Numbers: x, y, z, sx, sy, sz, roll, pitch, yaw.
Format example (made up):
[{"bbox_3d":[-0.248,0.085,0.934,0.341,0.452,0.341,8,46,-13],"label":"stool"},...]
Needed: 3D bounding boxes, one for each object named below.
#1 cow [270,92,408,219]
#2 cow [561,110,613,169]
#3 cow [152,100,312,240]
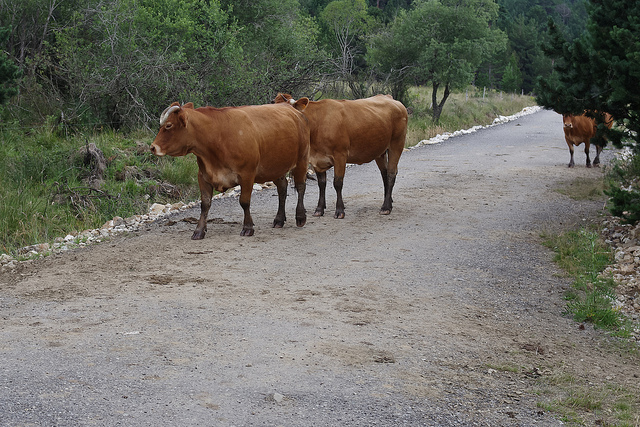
[{"bbox_3d":[0.418,-1.332,12.340,4.020,2.784,1.264,-6,12,-34],"label":"cow"},{"bbox_3d":[9.469,-2.624,19.144,1.017,1.874,3.555,-4,-4,43],"label":"cow"},{"bbox_3d":[-1.566,-0.831,10.509,1.157,2.565,3.960,7,11,40],"label":"cow"}]
